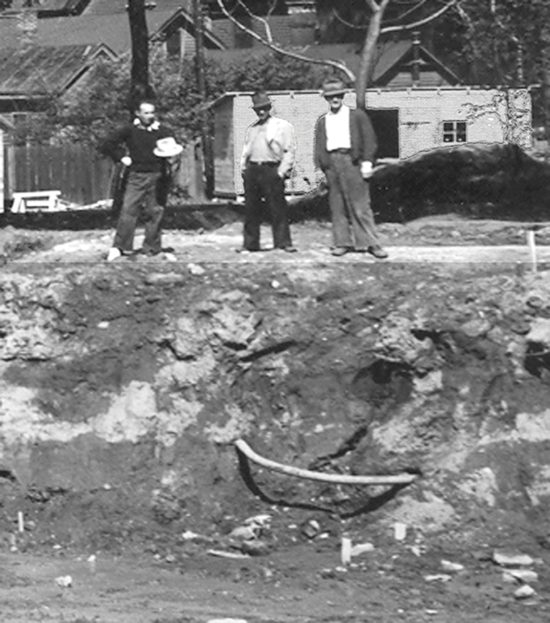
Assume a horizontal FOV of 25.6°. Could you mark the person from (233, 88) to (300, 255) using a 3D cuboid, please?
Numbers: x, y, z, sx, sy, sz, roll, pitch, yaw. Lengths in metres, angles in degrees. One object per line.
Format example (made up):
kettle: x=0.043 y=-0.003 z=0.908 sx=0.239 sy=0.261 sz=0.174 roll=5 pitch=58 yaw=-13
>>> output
person: x=-0.083 y=-1.326 z=11.640 sx=0.531 sy=1.527 sz=0.412 roll=-2 pitch=4 yaw=-2

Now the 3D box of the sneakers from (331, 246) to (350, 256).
sneakers: x=0.616 y=-0.573 z=11.622 sx=0.064 sy=0.078 sz=0.174 roll=3 pitch=4 yaw=37

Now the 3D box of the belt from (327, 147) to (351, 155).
belt: x=0.602 y=-1.519 z=11.450 sx=0.213 sy=0.050 sz=0.054 roll=-2 pitch=5 yaw=5

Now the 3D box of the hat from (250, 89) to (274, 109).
hat: x=-0.138 y=-2.019 z=11.550 sx=0.156 sy=0.102 sz=0.209 roll=-23 pitch=10 yaw=4

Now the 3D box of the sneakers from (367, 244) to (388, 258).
sneakers: x=0.959 y=-0.561 z=11.501 sx=0.189 sy=0.137 sz=0.185 roll=-1 pitch=5 yaw=10

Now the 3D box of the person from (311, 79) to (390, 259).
person: x=0.698 y=-1.339 z=11.503 sx=0.672 sy=1.688 sz=0.443 roll=-1 pitch=4 yaw=2

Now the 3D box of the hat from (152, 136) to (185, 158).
hat: x=-1.004 y=-1.551 z=11.473 sx=0.275 sy=0.200 sz=0.270 roll=-1 pitch=5 yaw=7

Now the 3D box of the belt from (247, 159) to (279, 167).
belt: x=-0.114 y=-1.428 z=11.608 sx=0.315 sy=0.051 sz=0.057 roll=-1 pitch=5 yaw=16

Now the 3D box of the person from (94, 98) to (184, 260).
person: x=-1.227 y=-1.257 z=11.455 sx=0.681 sy=1.448 sz=0.379 roll=-2 pitch=4 yaw=-6
